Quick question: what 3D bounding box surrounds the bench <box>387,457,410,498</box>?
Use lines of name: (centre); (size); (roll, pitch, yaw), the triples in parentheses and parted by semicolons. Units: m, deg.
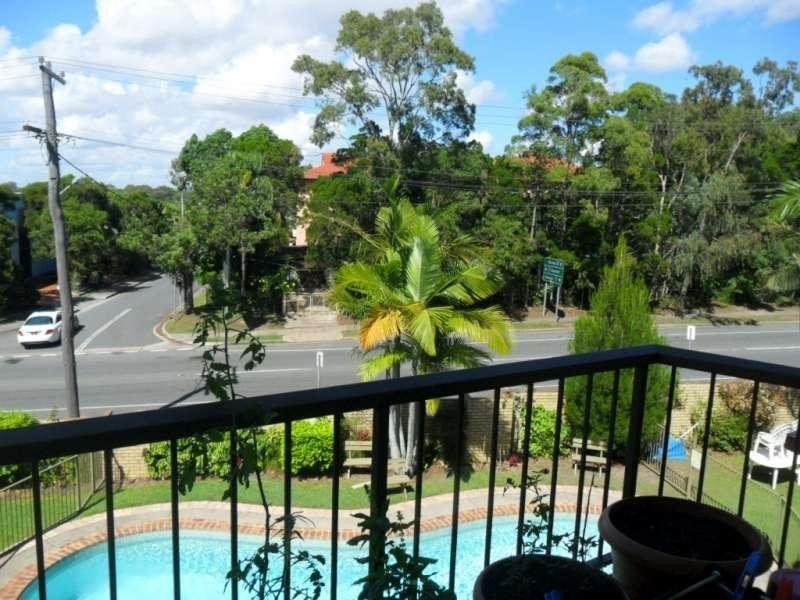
bench: (0.018, 3.854, 16.205); (0.546, 0.788, 2.075); (-5, -9, 0)

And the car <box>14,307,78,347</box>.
car: (-13.919, 1.078, 29.097); (1.512, 1.455, 1.225); (-1, -9, -31)

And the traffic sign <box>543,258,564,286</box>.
traffic sign: (7.017, -1.339, 34.296); (0.170, 1.388, 1.177); (-2, 4, -36)
